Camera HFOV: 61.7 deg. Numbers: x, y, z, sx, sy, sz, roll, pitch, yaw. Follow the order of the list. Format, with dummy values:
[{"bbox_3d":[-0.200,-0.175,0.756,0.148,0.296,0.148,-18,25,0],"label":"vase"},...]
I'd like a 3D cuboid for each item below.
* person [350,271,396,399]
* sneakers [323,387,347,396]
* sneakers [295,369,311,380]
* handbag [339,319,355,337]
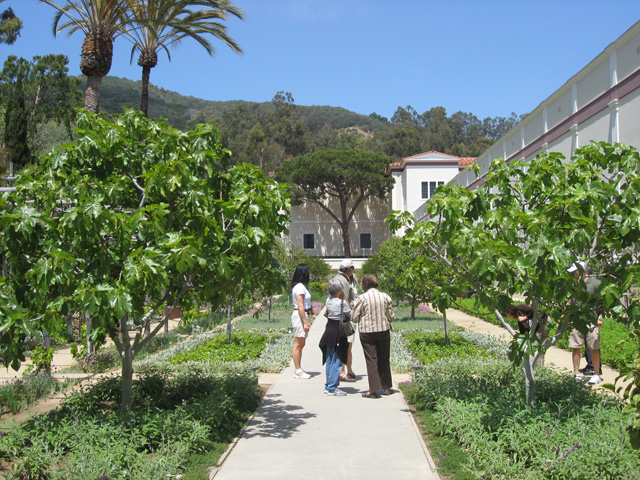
[{"bbox_3d":[0.971,1.934,10.047,0.739,1.981,0.379,1,2,3],"label":"person"},{"bbox_3d":[0.259,2.847,10.147,0.374,0.195,0.155,0,-4,0],"label":"sneakers"},{"bbox_3d":[-0.381,2.879,11.489,0.310,0.175,0.162,1,1,8],"label":"sneakers"},{"bbox_3d":[0.489,1.697,10.293,0.269,0.327,0.137,-13,-6,12],"label":"handbag"}]
